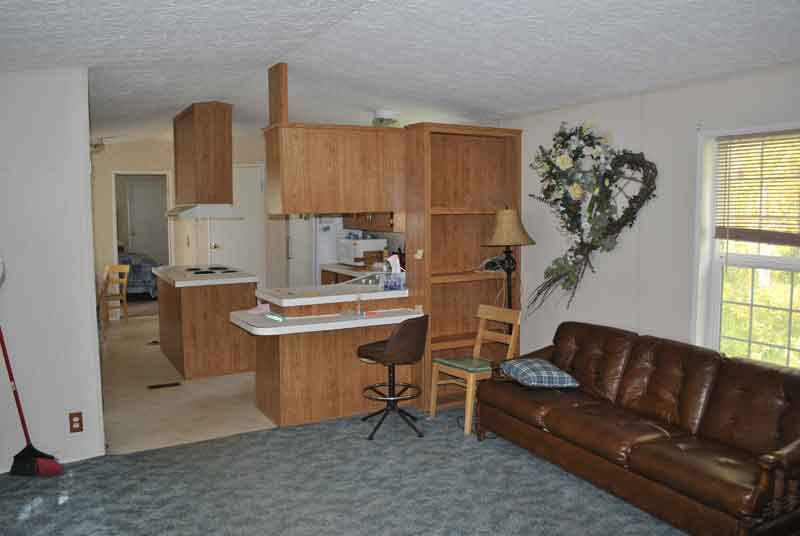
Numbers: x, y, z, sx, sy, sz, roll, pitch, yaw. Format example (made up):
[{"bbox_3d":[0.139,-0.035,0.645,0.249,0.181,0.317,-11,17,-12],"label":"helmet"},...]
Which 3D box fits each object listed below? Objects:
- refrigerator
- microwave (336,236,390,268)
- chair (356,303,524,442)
[{"bbox_3d":[-1.315,-0.255,9.216,0.879,1.059,0.410,-2,14,-5],"label":"refrigerator"},{"bbox_3d":[-0.492,-0.147,8.403,0.459,0.305,0.629,0,1,-23],"label":"microwave"},{"bbox_3d":[0.516,0.992,6.027,1.836,1.292,1.019,1,2,-18],"label":"chair"}]
